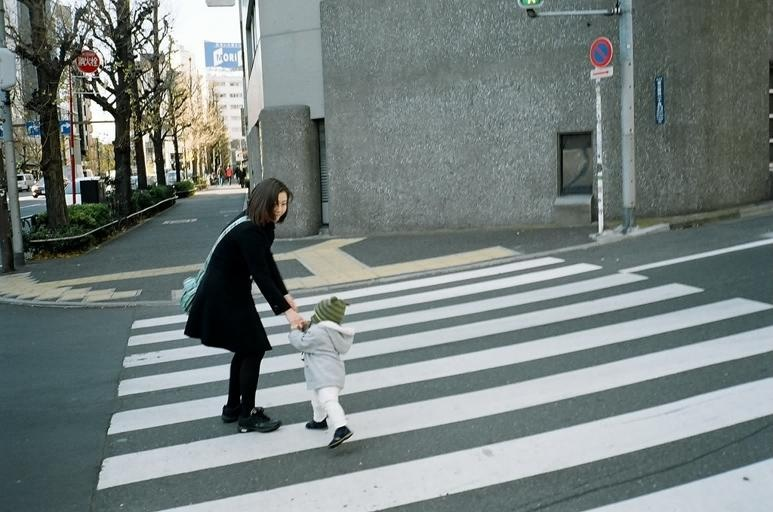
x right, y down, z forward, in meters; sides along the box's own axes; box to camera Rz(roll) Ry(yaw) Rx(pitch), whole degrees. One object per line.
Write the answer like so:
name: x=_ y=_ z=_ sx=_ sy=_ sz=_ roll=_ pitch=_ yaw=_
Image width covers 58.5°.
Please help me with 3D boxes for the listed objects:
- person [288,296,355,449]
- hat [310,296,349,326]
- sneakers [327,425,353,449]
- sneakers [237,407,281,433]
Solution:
person: x=-0.613 y=1.236 z=7.512 sx=0.636 sy=1.564 sz=0.833 roll=-13 pitch=17 yaw=-36
hat: x=-0.604 y=0.627 z=7.582 sx=0.347 sy=0.348 sz=0.269 roll=14 pitch=-8 yaw=31
sneakers: x=-0.499 y=1.927 z=7.401 sx=0.257 sy=0.297 sz=0.270 roll=-5 pitch=15 yaw=-7
sneakers: x=-1.437 y=1.859 z=7.892 sx=0.454 sy=0.271 sz=0.237 roll=-1 pitch=9 yaw=5
